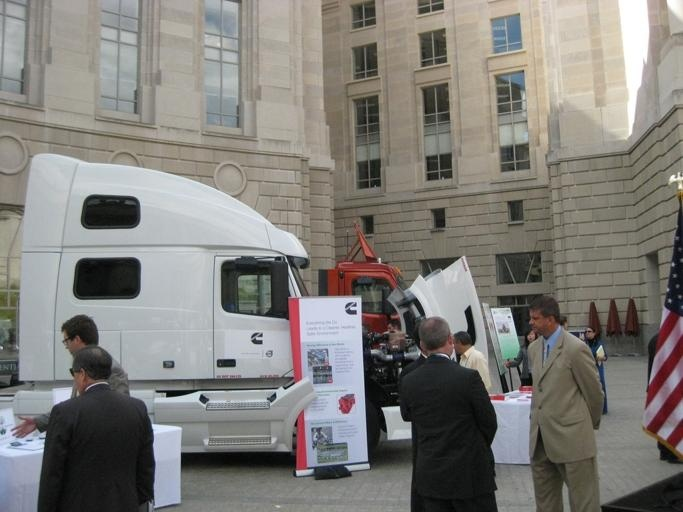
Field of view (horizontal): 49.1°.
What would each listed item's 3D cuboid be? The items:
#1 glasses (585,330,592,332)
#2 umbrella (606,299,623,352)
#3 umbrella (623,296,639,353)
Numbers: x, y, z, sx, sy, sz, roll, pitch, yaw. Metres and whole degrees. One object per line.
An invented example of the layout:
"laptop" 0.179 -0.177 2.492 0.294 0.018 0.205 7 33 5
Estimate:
"glasses" 5.514 1.689 16.626 0.120 0.039 0.122 -1 -26 23
"umbrella" 10.322 2.426 28.114 0.565 1.529 0.428 -2 4 -26
"umbrella" 10.824 2.362 27.701 0.688 1.483 0.466 -4 5 -43
